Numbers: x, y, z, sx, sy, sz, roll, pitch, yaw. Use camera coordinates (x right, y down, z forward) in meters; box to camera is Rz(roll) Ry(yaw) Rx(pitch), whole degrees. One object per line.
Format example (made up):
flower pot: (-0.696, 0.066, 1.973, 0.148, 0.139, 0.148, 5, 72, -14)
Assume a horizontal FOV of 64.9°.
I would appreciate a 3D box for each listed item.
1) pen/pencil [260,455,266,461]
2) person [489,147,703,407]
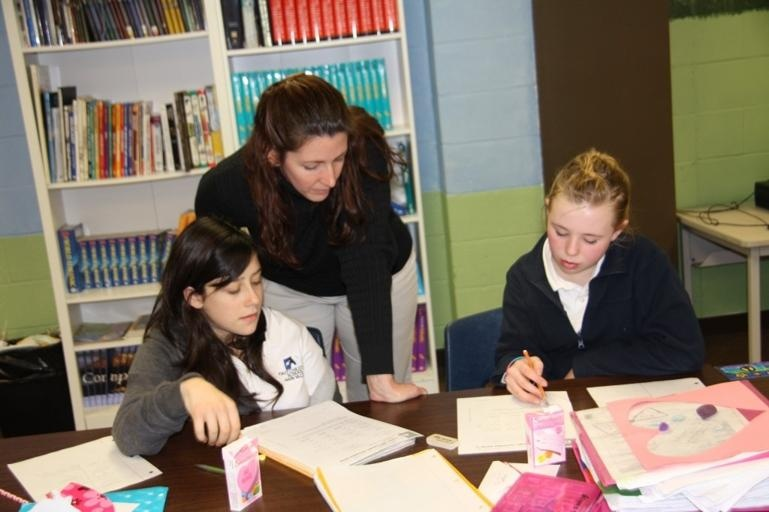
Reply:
pen/pencil: (-0.378, 0.625, 1.869, 0.014, 0.014, 0.004, -40, 30, 32)
person: (0.716, 0.059, 2.194, 0.747, 0.838, 0.456, -9, 10, -7)
